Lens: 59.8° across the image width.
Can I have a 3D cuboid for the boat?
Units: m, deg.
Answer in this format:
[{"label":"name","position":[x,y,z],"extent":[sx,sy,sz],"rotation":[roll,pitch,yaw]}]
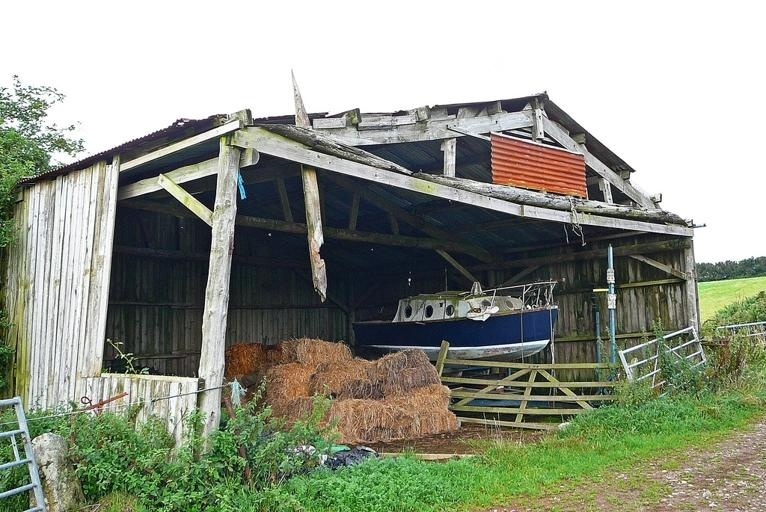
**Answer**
[{"label":"boat","position":[1.859,1.827,17.021],"extent":[4.991,1.850,1.929],"rotation":[-9,-11,41]}]
